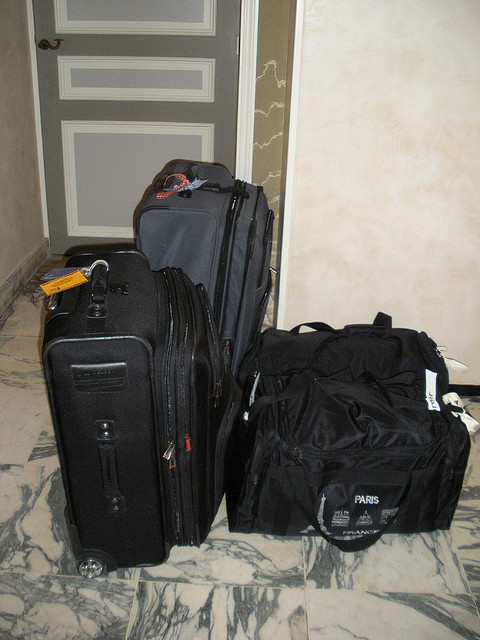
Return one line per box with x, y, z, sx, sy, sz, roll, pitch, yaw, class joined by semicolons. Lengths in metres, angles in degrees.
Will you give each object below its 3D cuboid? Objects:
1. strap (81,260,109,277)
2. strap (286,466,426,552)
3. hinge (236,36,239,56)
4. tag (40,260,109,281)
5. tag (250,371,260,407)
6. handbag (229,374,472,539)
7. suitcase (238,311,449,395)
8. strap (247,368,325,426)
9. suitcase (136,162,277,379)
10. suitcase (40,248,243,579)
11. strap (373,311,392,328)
-0.267;-0.093;0.984;0.046;0.028;0.012;-29;35;25;strap
0.227;0.392;1.101;0.280;0.202;0.073;1;16;-12;strap
-0.014;-1.087;2.135;0.008;0.068;0.013;4;15;-3;hinge
-0.307;-0.089;0.988;0.103;0.015;0.051;-5;29;-10;tag
0.031;0.157;1.256;0.010;0.024;0.091;-25;40;44;tag
0.235;0.289;1.234;0.443;0.282;0.365;1;25;-2;handbag
0.262;0.101;1.408;0.427;0.148;0.306;-1;18;20;suitcase
0.098;0.169;1.157;0.146;0.042;0.141;2;29;4;strap
-0.100;-0.123;1.494;0.353;0.515;0.338;5;24;3;suitcase
-0.171;0.185;1.080;0.334;0.529;0.347;-2;21;-5;suitcase
0.385;0.001;1.473;0.033;0.045;0.044;-1;-24;-1;strap
